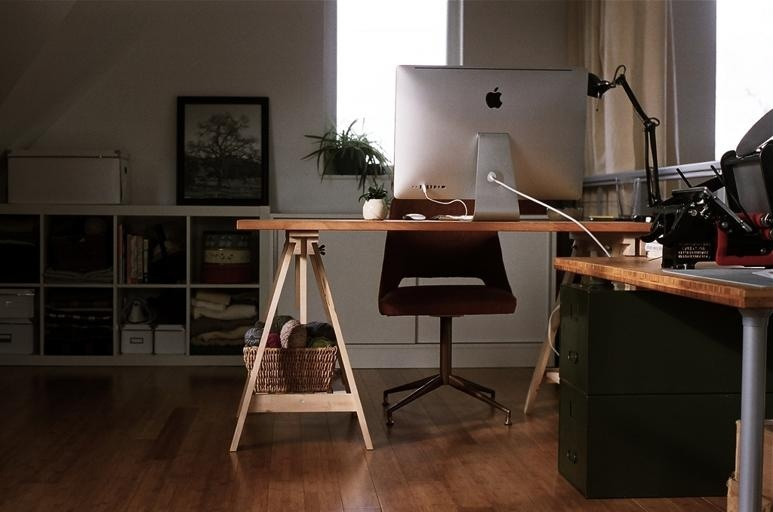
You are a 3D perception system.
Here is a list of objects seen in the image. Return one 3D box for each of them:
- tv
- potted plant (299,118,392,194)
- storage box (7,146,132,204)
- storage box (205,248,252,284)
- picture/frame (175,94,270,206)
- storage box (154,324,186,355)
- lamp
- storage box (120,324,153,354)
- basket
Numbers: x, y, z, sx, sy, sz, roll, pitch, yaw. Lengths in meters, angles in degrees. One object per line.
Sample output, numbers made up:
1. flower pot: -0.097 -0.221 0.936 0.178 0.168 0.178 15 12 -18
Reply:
1. tv: 0.474 -0.533 3.095 0.807 0.626 0.265 0 16 -4
2. potted plant: -0.307 -0.600 4.635 0.576 0.394 0.592 4 2 43
3. storage box: -2.108 -0.515 4.464 0.539 0.275 0.398 0 -2 -3
4. storage box: -1.047 0.068 4.301 0.237 0.174 0.240 0 -1 -4
5. picture/frame: -1.121 -0.722 4.537 0.724 0.848 0.057 1 -3 -1
6. storage box: -1.429 0.550 4.352 0.186 0.179 0.101 0 0 -2
7. lamp: 1.174 -0.620 3.266 0.373 0.665 1.501 5 14 20
8. storage box: -1.629 0.549 4.338 0.184 0.139 0.187 0 5 -3
9. basket: -0.465 0.535 3.174 0.320 0.153 0.239 0 -6 -8
